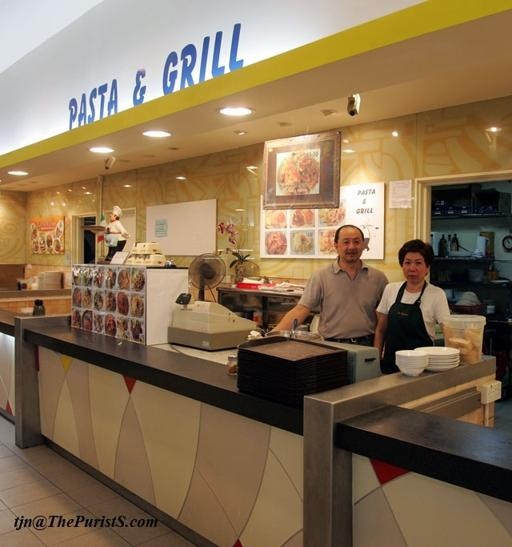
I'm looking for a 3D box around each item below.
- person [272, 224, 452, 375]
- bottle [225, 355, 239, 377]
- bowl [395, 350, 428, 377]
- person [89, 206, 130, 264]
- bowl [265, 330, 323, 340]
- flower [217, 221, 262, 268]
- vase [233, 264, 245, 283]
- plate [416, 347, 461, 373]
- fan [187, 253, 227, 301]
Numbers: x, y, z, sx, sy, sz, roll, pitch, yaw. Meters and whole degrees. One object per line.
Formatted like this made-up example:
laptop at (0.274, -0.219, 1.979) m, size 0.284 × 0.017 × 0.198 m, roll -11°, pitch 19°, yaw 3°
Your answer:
person at (0.744, 0.132, 3.171) m, size 1.362 × 1.270 × 0.652 m, roll 0°, pitch -3°, yaw -1°
bottle at (-0.107, 0.438, 2.047) m, size 0.091 × 0.097 × 0.088 m, roll 3°, pitch -7°, yaw -20°
bowl at (0.607, 0.347, 1.707) m, size 0.106 × 0.073 × 0.106 m, roll 1°, pitch -5°, yaw 0°
person at (-1.370, -0.248, 4.035) m, size 0.402 × 0.721 × 0.302 m, roll -2°, pitch -4°, yaw 37°
bowl at (0.175, 0.272, 1.900) m, size 0.144 × 0.029 × 0.085 m, roll 0°, pitch 1°, yaw -21°
flower at (-0.244, -0.349, 6.538) m, size 0.347 × 0.546 × 0.423 m, roll -18°, pitch 21°, yaw -41°
vase at (-0.275, 0.011, 6.466) m, size 0.100 × 0.276 × 0.287 m, roll 1°, pitch -1°, yaw -35°
plate at (0.774, 0.353, 1.799) m, size 0.121 × 0.049 × 0.120 m, roll -1°, pitch -4°, yaw 1°
fan at (-0.371, 0.028, 3.146) m, size 0.231 × 0.327 × 0.243 m, roll 1°, pitch -1°, yaw -37°
